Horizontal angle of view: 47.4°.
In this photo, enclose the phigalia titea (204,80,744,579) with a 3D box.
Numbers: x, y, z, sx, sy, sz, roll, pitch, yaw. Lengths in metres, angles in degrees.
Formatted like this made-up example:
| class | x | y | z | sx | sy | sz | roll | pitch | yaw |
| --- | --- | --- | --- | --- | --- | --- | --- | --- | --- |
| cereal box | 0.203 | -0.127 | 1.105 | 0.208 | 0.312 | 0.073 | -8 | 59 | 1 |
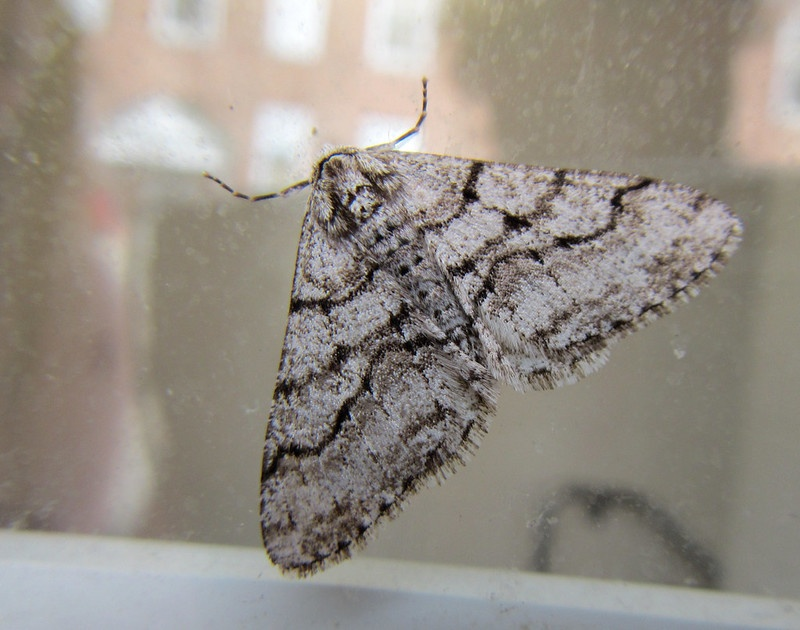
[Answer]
| class | x | y | z | sx | sy | sz | roll | pitch | yaw |
| --- | --- | --- | --- | --- | --- | --- | --- | --- | --- |
| phigalia titea | 0.015 | 0.001 | 3.121 | 1.543 | 2.481 | 0.522 | 26 | 77 | -7 |
